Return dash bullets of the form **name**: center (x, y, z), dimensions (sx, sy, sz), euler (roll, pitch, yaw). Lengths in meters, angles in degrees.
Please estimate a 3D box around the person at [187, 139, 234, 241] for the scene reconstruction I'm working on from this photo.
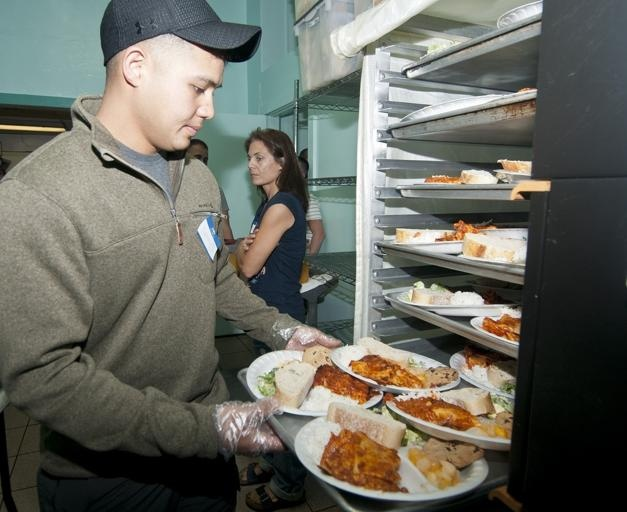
- **person**: center (-0.776, -0.444, 3.590), dimensions (0.295, 0.809, 0.253), euler (-20, -5, -12)

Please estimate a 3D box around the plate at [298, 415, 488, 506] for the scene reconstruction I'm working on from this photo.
- **plate**: center (0.144, 0.442, 0.980), dimensions (0.398, 0.059, 0.207), euler (4, 13, 25)

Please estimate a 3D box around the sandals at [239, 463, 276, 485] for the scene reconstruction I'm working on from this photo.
- **sandals**: center (-0.278, 1.050, 2.259), dimensions (0.222, 0.049, 0.101), euler (1, 2, -13)

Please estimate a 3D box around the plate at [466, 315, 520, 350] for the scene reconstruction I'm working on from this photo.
- **plate**: center (0.462, 0.190, 1.176), dimensions (0.119, 0.016, 0.126), euler (1, 10, -6)

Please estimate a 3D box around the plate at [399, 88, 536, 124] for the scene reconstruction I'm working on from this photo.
- **plate**: center (0.390, -0.402, 1.256), dimensions (0.228, 0.025, 0.204), euler (-13, 0, -22)
